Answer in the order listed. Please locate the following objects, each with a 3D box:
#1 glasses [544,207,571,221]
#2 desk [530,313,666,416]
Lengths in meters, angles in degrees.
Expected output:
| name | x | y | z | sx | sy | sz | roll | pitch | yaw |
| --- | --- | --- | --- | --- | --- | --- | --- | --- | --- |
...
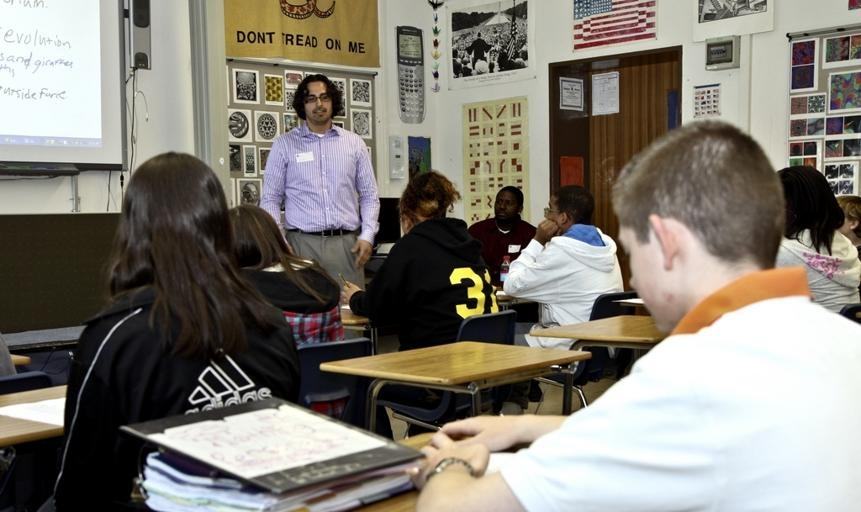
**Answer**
| name | x | y | z | sx | sy | sz | roll | pitch | yaw |
| --- | --- | --- | --- | --- | --- | --- | --- | --- | --- |
| glasses | 0.896 | -0.289 | 4.383 | 0.129 | 0.038 | 0.129 | 31 | 20 | 34 |
| desk | 0.934 | 0.600 | 3.170 | 0.399 | 0.358 | 0.742 | -1 | -4 | 13 |
